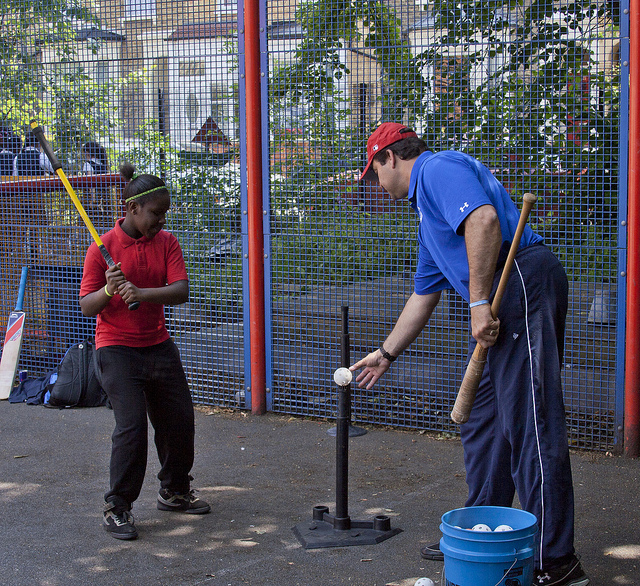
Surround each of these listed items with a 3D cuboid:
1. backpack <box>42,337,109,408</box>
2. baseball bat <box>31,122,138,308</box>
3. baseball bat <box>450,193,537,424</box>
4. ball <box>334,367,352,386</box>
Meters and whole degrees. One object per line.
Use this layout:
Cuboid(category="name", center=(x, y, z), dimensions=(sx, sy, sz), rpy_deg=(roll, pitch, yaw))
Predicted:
Cuboid(category="backpack", center=(-2.161, 0.738, 9.695), dimensions=(0.514, 0.628, 0.426), rpy_deg=(2, -11, 28))
Cuboid(category="baseball bat", center=(-1.886, -0.713, 8.889), dimensions=(0.128, 1.784, 0.188), rpy_deg=(-34, -11, 38))
Cuboid(category="baseball bat", center=(0.977, 0.073, 6.109), dimensions=(0.140, 1.681, 0.150), rpy_deg=(19, 8, 30))
Cuboid(category="ball", center=(0.135, 0.503, 6.574), dimensions=(0.097, 0.150, 0.176), rpy_deg=(-1, 12, 2))
